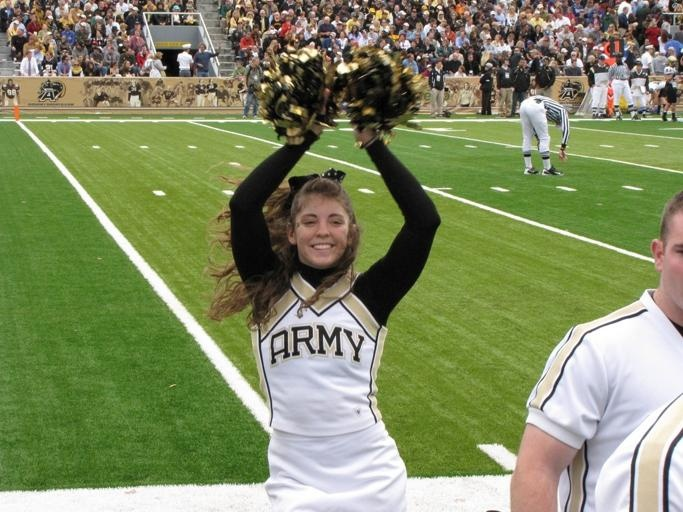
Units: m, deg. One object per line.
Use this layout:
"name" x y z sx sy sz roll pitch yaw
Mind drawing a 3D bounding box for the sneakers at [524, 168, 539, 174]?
"sneakers" 4.392 -1.959 15.388 0.439 0.164 0.140 -3 10 -30
